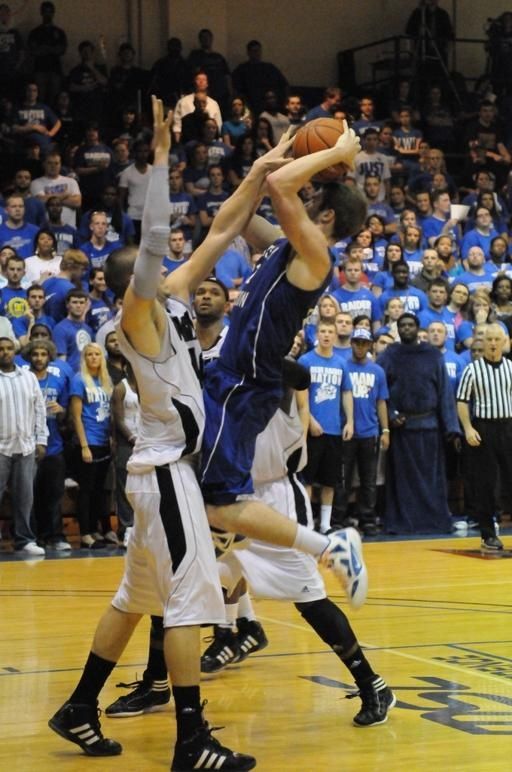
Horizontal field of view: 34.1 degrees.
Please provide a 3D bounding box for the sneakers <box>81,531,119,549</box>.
[{"bbox_3d":[-1.376,1.365,7.282,0.200,0.064,0.198,-12,-11,28],"label":"sneakers"}]

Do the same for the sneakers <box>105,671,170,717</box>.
[{"bbox_3d":[-0.393,1.074,2.902,0.248,0.101,0.104,0,1,-32],"label":"sneakers"}]

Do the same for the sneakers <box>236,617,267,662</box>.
[{"bbox_3d":[-0.040,1.103,3.658,0.091,0.170,0.180,-4,-3,44],"label":"sneakers"}]

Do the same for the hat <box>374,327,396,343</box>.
[{"bbox_3d":[1.336,-0.518,8.658,0.182,0.203,0.201,5,31,7],"label":"hat"}]

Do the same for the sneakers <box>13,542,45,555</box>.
[{"bbox_3d":[-1.818,1.323,6.744,0.259,0.098,0.093,-4,-11,27],"label":"sneakers"}]

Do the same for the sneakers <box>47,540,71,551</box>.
[{"bbox_3d":[-1.651,1.360,7.041,0.214,0.075,0.082,6,-4,12],"label":"sneakers"}]

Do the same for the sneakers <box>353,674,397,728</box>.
[{"bbox_3d":[0.364,0.995,2.646,0.077,0.133,0.199,-11,6,39],"label":"sneakers"}]

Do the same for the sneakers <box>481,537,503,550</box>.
[{"bbox_3d":[2.008,1.341,7.062,0.093,0.069,0.169,3,-12,-10],"label":"sneakers"}]

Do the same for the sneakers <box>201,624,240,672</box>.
[{"bbox_3d":[-0.151,1.120,3.522,0.113,0.196,0.290,-3,-2,22],"label":"sneakers"}]

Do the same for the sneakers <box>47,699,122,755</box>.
[{"bbox_3d":[-0.473,0.965,2.340,0.157,0.173,0.138,-3,-2,27],"label":"sneakers"}]
